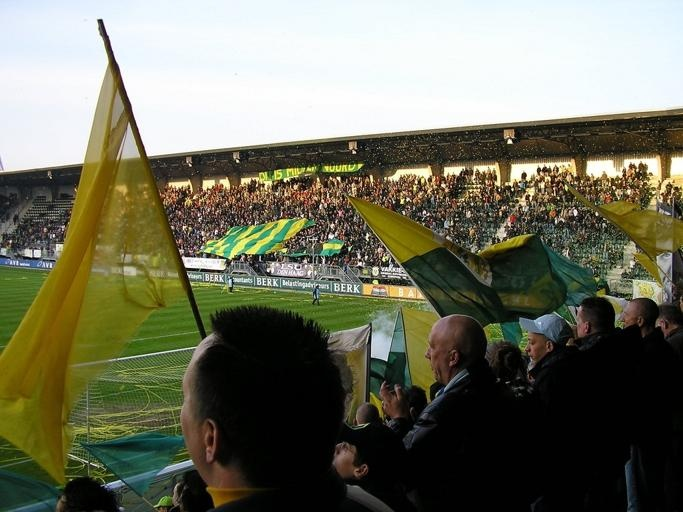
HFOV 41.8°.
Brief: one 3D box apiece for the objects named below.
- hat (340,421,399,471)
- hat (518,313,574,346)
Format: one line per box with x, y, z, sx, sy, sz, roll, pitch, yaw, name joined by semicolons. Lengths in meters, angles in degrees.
0.204;1.295;6.094;0.415;0.302;0.178;-2;4;-2;hat
1.845;0.656;8.058;0.345;0.232;0.561;-4;4;-26;hat
